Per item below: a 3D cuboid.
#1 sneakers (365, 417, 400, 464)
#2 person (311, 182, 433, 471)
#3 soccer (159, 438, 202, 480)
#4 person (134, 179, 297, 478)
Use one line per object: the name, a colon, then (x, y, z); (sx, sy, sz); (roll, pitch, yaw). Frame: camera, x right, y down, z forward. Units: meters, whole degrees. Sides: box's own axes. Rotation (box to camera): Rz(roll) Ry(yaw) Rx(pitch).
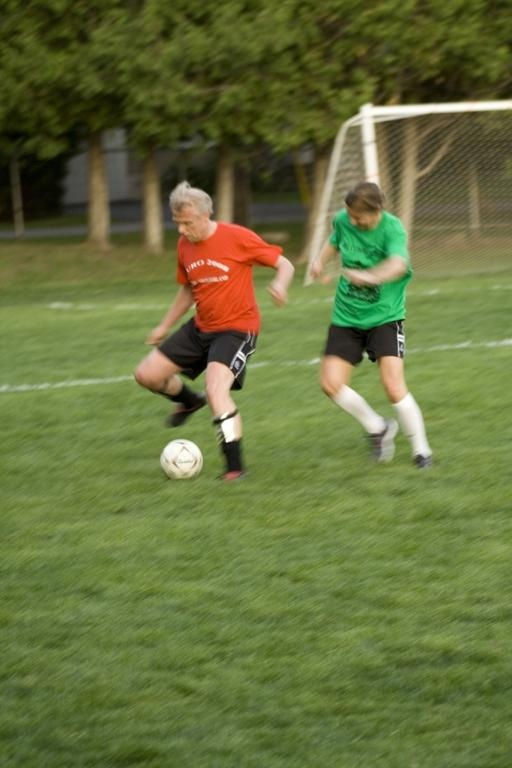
sneakers: (0.560, 0.237, 3.157); (0.117, 0.214, 0.084); (-7, 19, -2)
person: (0.499, -0.253, 3.087); (0.520, 1.175, 0.581); (-1, 15, 4)
soccer: (-0.306, 0.311, 2.987); (0.158, 0.147, 0.092); (-4, 15, -10)
person: (-0.189, -0.284, 3.234); (0.613, 1.197, 0.928); (-9, 16, -26)
